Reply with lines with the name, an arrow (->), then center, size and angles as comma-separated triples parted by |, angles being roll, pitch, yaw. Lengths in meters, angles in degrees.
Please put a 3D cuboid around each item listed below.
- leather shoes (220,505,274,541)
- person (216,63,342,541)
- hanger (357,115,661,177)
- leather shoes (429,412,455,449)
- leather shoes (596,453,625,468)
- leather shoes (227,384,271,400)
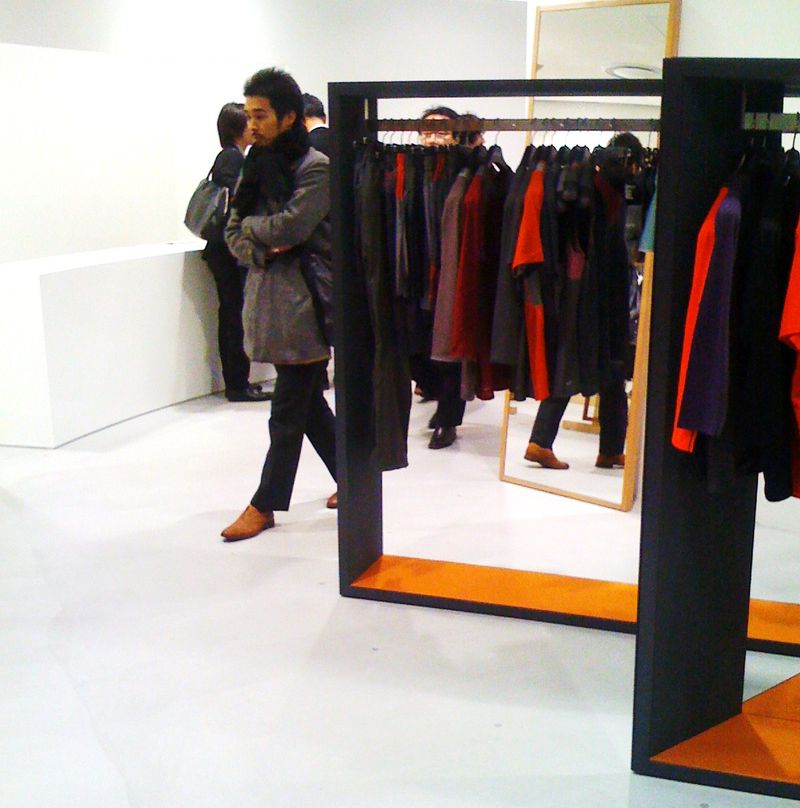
leather shoes -> -0.624, 0.499, 3.087 | 0.085, 0.116, 0.241 | 1, 8, 32
person -> -0.489, -0.336, 2.922 | 0.444, 1.807, 0.383 | -2, 10, -8
hanger -> 0.441, -0.983, 2.859 | 0.877, 0.250, 1.290 | 2, 13, 11
leather shoes -> 0.229, 0.176, 4.305 | 0.081, 0.127, 0.269 | 1, 6, 9
leather shoes -> 0.946, 0.249, 3.383 | 0.110, 0.095, 0.048 | -2, 8, 13
leather shoes -> -1.054, -0.062, 5.266 | 0.329, 0.173, 0.122 | -3, 6, -10
